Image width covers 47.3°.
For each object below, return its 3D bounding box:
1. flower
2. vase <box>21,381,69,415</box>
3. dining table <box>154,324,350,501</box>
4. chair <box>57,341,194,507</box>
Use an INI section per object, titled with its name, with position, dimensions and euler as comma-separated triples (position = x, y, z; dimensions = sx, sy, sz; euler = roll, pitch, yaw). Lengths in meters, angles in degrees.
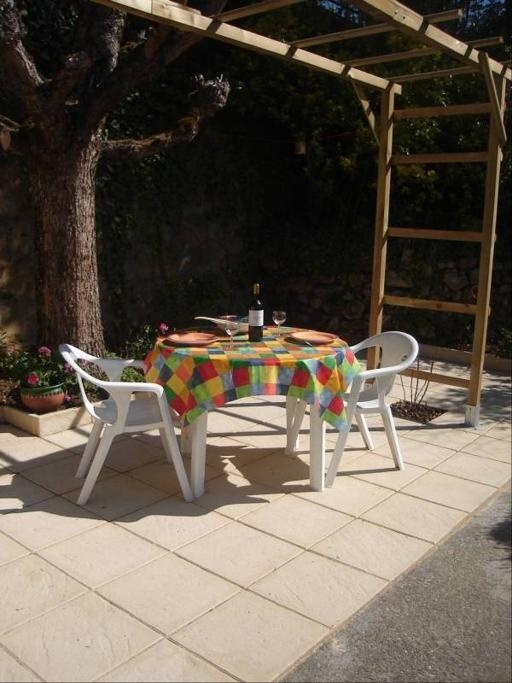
[flower]
position = -1.506, 0.207, 4.144
dimensions = 0.482, 0.298, 0.453
euler = 3, 2, -37
[vase]
position = -1.461, 0.391, 3.995
dimensions = 0.239, 0.142, 0.231
euler = 0, -5, 3
[dining table]
position = -0.032, 0.257, 3.229
dimensions = 1.026, 0.591, 0.942
euler = 0, 11, -7
[chair]
position = -0.776, 0.320, 3.303
dimensions = 0.900, 0.978, 0.841
euler = -6, 19, -19
